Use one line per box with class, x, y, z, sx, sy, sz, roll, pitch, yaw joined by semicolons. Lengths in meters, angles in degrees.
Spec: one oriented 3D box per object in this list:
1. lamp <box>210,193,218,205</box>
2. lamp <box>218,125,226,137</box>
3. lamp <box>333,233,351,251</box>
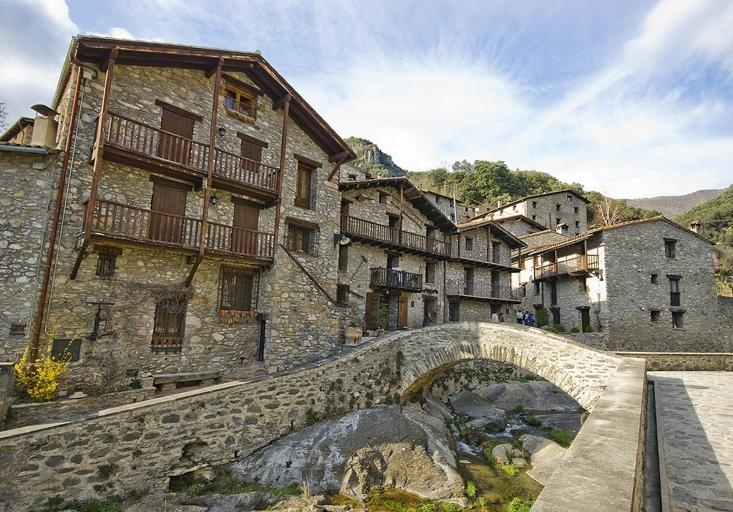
lamp;-6.561;-2.358;18.464;0.364;0.424;0.104;7;-14;-36
lamp;-6.371;-5.224;18.875;0.212;0.531;0.333;-7;-13;27
lamp;-1.302;-0.826;22.047;0.882;0.718;0.678;-8;-8;22
